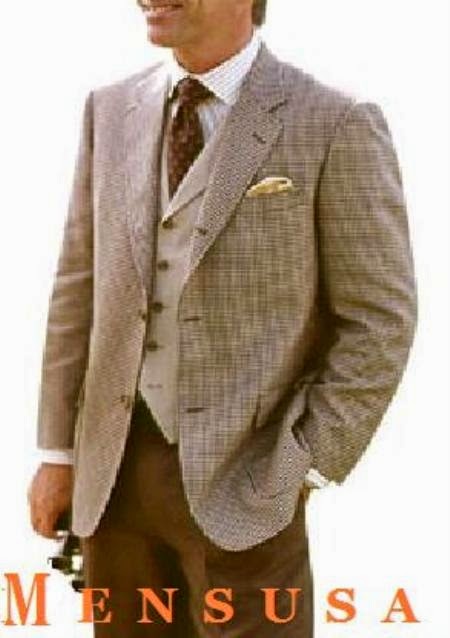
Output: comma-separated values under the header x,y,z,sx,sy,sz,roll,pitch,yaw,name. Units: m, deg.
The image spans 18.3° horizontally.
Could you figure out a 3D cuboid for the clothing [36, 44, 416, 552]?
x,y,z,sx,sy,sz,roll,pitch,yaw,name
0.029,-0.037,3.534,0.933,1.525,0.465,4,4,21,clothing
